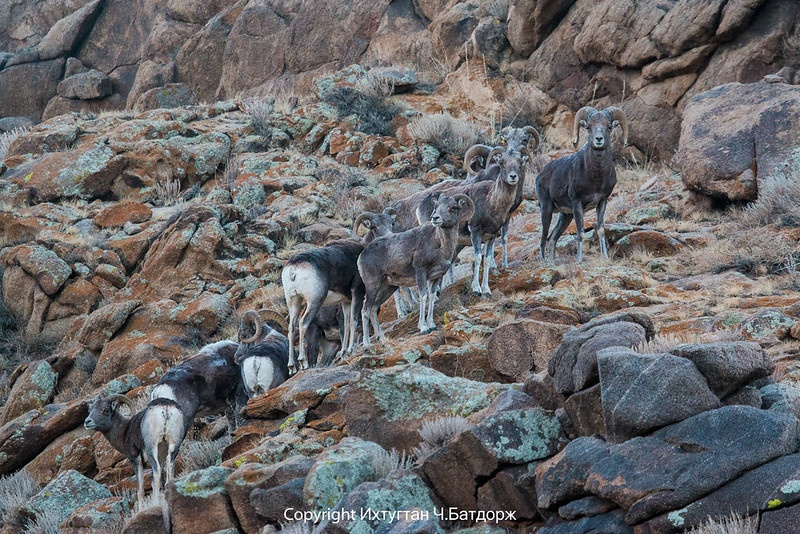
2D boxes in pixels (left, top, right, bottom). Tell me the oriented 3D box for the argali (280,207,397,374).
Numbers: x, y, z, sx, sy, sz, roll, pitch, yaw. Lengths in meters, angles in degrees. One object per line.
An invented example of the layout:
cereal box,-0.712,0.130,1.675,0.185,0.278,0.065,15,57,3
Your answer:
argali,-1.711,0.528,38.901,1.375,4.261,4.479,0,5,40
